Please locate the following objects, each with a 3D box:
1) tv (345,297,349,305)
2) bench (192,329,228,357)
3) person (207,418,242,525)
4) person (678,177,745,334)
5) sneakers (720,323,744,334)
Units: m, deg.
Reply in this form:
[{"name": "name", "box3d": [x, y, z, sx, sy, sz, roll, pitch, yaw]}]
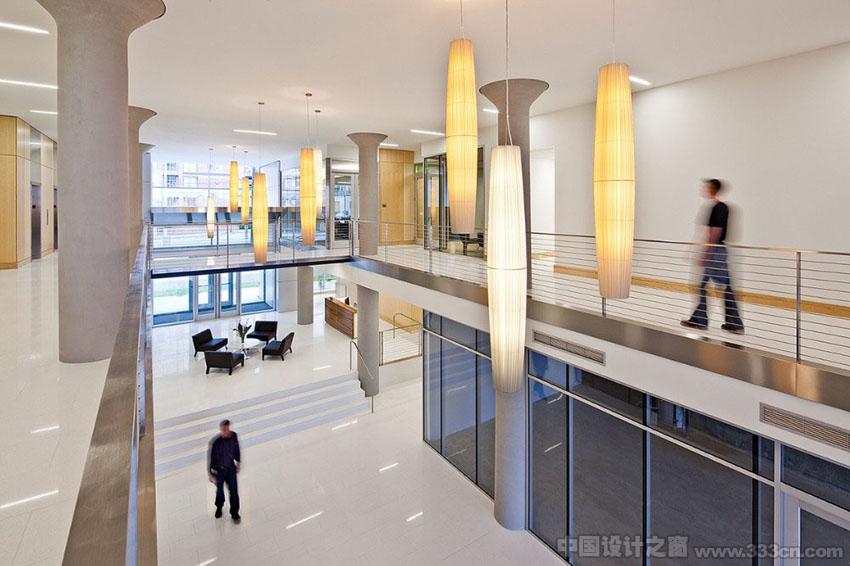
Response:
[{"name": "tv", "box3d": [-2.728, 0.629, 18.836, 0.047, 0.196, 0.199, 7, -8, -29]}, {"name": "bench", "box3d": [-6.025, 1.661, 15.265, 0.661, 0.666, 0.992, 2, 6, 0]}, {"name": "person", "box3d": [-3.459, 3.159, 9.413, 0.487, 1.971, 0.711, -5, 13, -23]}, {"name": "person", "box3d": [4.104, -0.425, 7.641, 0.732, 1.951, 1.491, 7, 14, 30]}, {"name": "sneakers", "box3d": [4.049, 0.612, 7.289, 0.133, 0.080, 0.207, -1, 2, -18]}]
